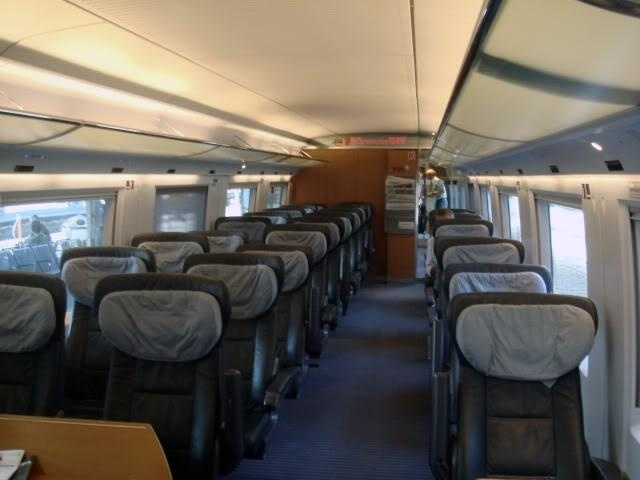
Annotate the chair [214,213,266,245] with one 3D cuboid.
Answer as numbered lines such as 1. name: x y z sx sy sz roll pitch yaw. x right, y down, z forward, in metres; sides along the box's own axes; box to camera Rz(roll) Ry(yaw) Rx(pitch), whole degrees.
1. chair: -1.293 -0.241 7.476 0.608 0.715 0.592 1 -9 9

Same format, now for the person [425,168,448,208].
1. person: 2.484 -1.111 10.023 0.253 0.847 0.507 -1 5 -28

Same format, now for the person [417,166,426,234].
1. person: 2.303 -0.888 10.431 0.205 1.491 0.452 2 4 11

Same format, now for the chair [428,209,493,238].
1. chair: 2.085 -0.376 7.052 0.765 0.644 0.739 1 -14 4

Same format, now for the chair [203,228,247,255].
1. chair: -1.253 0.005 6.245 0.396 0.386 0.378 0 -21 0
